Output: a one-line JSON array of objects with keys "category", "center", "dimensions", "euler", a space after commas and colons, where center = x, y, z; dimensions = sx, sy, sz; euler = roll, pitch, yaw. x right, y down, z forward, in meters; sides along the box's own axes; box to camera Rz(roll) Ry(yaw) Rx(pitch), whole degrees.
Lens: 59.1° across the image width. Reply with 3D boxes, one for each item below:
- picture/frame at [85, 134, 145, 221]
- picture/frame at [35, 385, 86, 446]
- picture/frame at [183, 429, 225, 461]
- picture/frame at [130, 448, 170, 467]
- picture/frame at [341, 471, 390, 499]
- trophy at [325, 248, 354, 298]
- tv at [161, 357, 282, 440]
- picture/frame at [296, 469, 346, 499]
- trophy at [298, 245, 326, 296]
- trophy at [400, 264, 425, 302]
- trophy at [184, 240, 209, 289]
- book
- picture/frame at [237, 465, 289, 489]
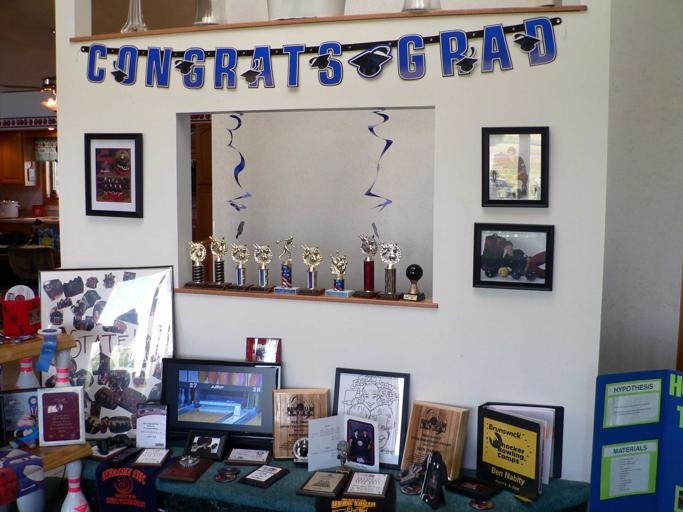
[{"category": "picture/frame", "center": [-1.785, -0.641, 4.732], "dimensions": [0.492, 0.660, 0.031], "euler": [2, 10, 20]}, {"category": "picture/frame", "center": [-1.862, 1.066, 3.984], "dimensions": [0.287, 0.395, 0.042], "euler": [2, 1, -8]}, {"category": "picture/frame", "center": [-0.973, 1.372, 4.334], "dimensions": [0.274, 0.154, 0.146], "euler": [2, 2, 5]}, {"category": "picture/frame", "center": [-1.341, 1.428, 4.251], "dimensions": [0.223, 0.055, 0.221], "euler": [2, 2, -3]}, {"category": "picture/frame", "center": [0.176, 1.522, 3.982], "dimensions": [0.262, 0.071, 0.266], "euler": [3, 3, 14]}, {"category": "trophy", "center": [-0.017, 0.151, 4.580], "dimensions": [0.203, 0.336, 0.207], "euler": [1, 0, 30]}, {"category": "tv", "center": [-0.909, 1.063, 4.518], "dimensions": [0.875, 0.595, 0.090], "euler": [4, 9, -2]}, {"category": "picture/frame", "center": [-0.119, 1.521, 3.999], "dimensions": [0.295, 0.072, 0.258], "euler": [3, 3, 12]}, {"category": "trophy", "center": [-0.229, 0.104, 4.774], "dimensions": [0.165, 0.363, 0.563], "euler": [2, 2, -3]}, {"category": "trophy", "center": [0.544, 0.189, 4.477], "dimensions": [0.169, 0.288, 0.183], "euler": [2, 1, -14]}, {"category": "trophy", "center": [-1.175, 0.061, 4.888], "dimensions": [0.134, 0.345, 0.349], "euler": [1, 2, -12]}, {"category": "book", "center": [1.223, 1.306, 4.138], "dimensions": [0.456, 0.487, 0.447], "euler": [4, 2, 42]}, {"category": "picture/frame", "center": [-0.522, 1.507, 4.093], "dimensions": [0.201, 0.051, 0.310], "euler": [4, 3, 38]}]
